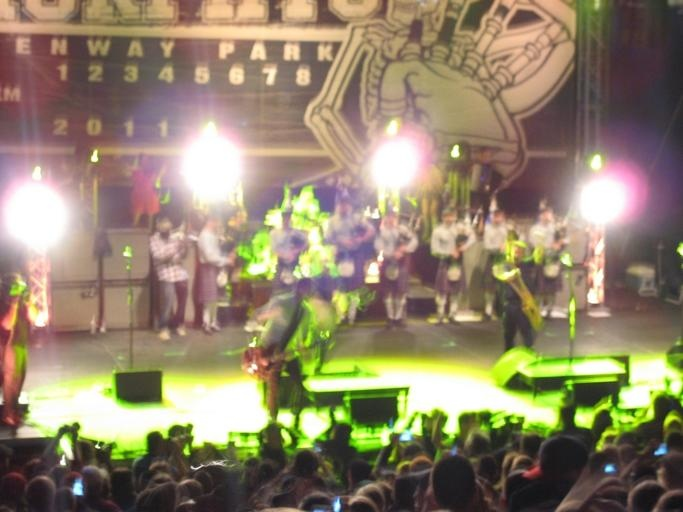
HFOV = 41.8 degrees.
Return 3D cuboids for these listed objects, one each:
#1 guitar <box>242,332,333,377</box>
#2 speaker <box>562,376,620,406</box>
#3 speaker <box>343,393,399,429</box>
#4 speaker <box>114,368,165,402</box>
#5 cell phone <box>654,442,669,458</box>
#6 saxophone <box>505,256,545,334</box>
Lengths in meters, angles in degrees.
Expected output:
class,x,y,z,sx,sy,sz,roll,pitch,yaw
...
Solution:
class,x,y,z,sx,sy,sz,roll,pitch,yaw
guitar,-0.803,1.441,12.902,1.134,0.708,0.503,-12,-38,-23
speaker,3.584,1.916,12.781,0.949,0.426,0.612,-5,9,-12
speaker,0.447,2.083,12.094,0.724,0.516,0.402,0,-8,-9
speaker,-2.987,1.917,13.169,0.791,0.573,0.435,1,9,-6
cell phone,3.627,2.186,10.184,0.104,0.065,0.191,15,32,27
saxophone,2.989,0.677,14.724,0.516,1.377,0.472,-5,9,-21
